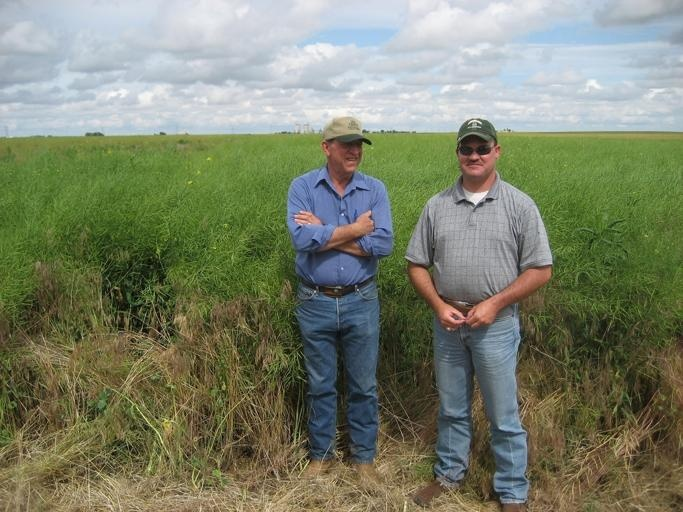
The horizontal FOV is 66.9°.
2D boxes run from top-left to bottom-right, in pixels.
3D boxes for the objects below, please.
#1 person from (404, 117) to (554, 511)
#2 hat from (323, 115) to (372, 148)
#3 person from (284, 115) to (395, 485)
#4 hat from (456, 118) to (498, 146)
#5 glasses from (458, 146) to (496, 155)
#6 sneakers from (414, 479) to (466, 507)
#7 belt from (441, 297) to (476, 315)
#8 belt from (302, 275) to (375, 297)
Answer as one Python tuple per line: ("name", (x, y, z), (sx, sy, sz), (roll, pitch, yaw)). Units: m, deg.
("person", (1.228, 0.542, 4.690), (1.203, 3.383, 0.926), (4, 19, 23))
("hat", (0.085, -1.213, 4.968), (0.351, 0.252, 0.518), (-17, 23, -34))
("person", (0.003, 0.408, 5.106), (1.019, 3.369, 1.119), (-2, 17, 5))
("hat", (1.206, -1.098, 4.578), (0.345, 0.219, 0.157), (1, 19, 16))
("glasses", (1.193, -0.934, 4.567), (0.287, 0.087, 0.059), (1, 19, 16))
("sneakers", (0.936, 2.206, 5.032), (0.537, 0.236, 0.187), (1, 39, -41))
("belt", (1.072, 0.443, 4.695), (0.176, 0.055, 0.138), (22, 8, 10))
("belt", (-0.052, 0.304, 5.070), (0.712, 0.119, 0.237), (-3, 19, 2))
